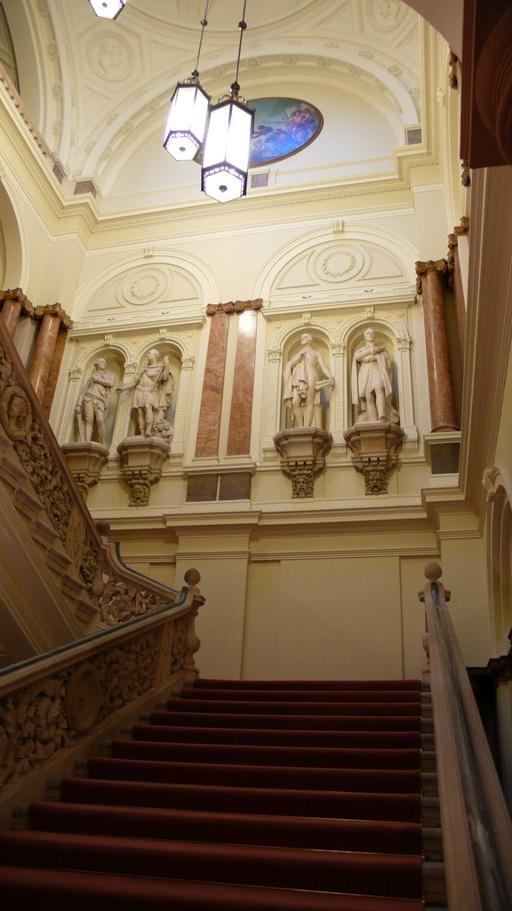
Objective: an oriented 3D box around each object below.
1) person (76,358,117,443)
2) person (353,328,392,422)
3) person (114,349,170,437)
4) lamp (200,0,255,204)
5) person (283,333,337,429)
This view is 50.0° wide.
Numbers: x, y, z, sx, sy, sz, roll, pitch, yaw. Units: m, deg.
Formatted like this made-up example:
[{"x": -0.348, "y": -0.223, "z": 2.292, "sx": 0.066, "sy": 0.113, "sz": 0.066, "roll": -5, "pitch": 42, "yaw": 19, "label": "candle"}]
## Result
[{"x": -2.975, "y": -0.916, "z": 10.205, "sx": 0.582, "sy": 1.837, "sz": 0.556, "roll": -13, "pitch": -32, "yaw": 32, "label": "person"}, {"x": 1.929, "y": -1.349, "z": 9.201, "sx": 0.568, "sy": 1.815, "sz": 0.436, "roll": -6, "pitch": -24, "yaw": 19, "label": "person"}, {"x": -1.967, "y": -1.164, "z": 9.978, "sx": 0.816, "sy": 1.749, "sz": 0.432, "roll": 1, "pitch": -25, "yaw": -3, "label": "person"}, {"x": -0.272, "y": -5.428, "z": 7.995, "sx": 0.652, "sy": 4.237, "sz": 0.692, "roll": 9, "pitch": -27, "yaw": -7, "label": "lamp"}, {"x": 0.893, "y": -1.225, "z": 9.351, "sx": 0.768, "sy": 1.791, "sz": 0.425, "roll": -4, "pitch": -24, "yaw": 13, "label": "person"}]
